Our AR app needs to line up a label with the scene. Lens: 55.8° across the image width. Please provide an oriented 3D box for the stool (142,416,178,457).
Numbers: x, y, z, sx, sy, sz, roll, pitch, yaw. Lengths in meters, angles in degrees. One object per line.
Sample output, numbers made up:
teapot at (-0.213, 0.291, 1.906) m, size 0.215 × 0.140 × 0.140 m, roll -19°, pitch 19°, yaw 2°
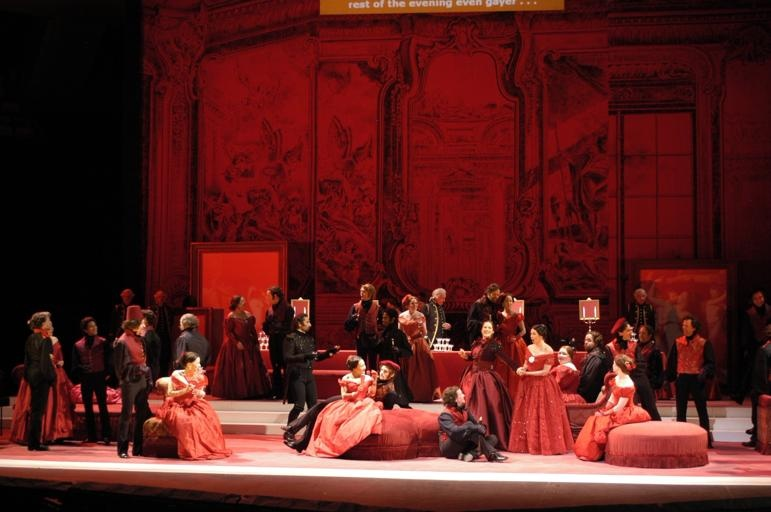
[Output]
stool at (-2.946, 2.382, 9.644) m, size 0.498 × 0.434 × 0.497 m, roll 1°, pitch -4°, yaw 1°

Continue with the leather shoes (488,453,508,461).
leather shoes at (1.417, 2.545, 9.268) m, size 0.224 × 0.107 × 0.097 m, roll -2°, pitch -1°, yaw 6°

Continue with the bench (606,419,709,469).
bench at (3.595, 2.433, 9.530) m, size 1.270 × 0.541 × 1.265 m, roll 6°, pitch -11°, yaw -32°

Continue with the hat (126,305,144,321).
hat at (-3.365, 0.761, 9.770) m, size 0.264 × 0.179 × 0.232 m, roll 1°, pitch 2°, yaw -29°

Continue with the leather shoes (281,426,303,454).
leather shoes at (-1.288, 2.473, 9.989) m, size 0.231 × 0.185 × 0.559 m, roll -20°, pitch 5°, yaw -20°

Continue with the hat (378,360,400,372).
hat at (0.057, 1.486, 9.968) m, size 0.196 × 0.058 × 0.166 m, roll 15°, pitch -7°, yaw -40°

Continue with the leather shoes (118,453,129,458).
leather shoes at (-3.427, 2.578, 9.444) m, size 0.135 × 0.056 × 0.055 m, roll -2°, pitch -3°, yaw 19°

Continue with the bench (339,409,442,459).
bench at (0.244, 2.285, 9.525) m, size 0.636 × 0.332 × 1.005 m, roll -3°, pitch -6°, yaw 35°
